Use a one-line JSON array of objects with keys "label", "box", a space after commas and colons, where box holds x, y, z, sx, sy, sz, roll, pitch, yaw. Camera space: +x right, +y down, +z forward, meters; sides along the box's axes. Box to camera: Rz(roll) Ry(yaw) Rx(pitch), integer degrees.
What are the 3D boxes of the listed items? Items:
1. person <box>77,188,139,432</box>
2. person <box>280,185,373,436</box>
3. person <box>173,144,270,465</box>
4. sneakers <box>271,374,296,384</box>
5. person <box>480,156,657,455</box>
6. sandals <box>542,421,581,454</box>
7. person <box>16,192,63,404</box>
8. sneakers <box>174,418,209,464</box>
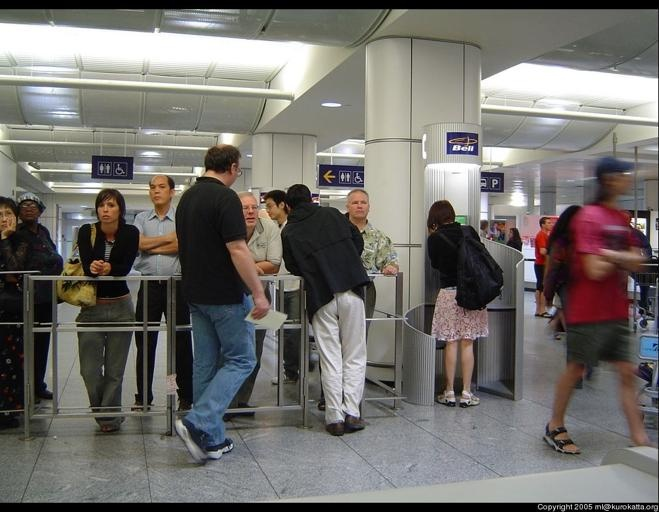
[{"label": "person", "box": [-1.888, 0.464, 4.262, 0.477, 2.087, 0.362, 0, 1, -30]}, {"label": "person", "box": [-0.033, 0.436, 4.419, 0.757, 2.180, 0.449, 1, 1, -4]}, {"label": "person", "box": [-0.805, 0.322, 3.741, 0.664, 2.383, 0.454, 0, 1, -17]}, {"label": "sneakers", "box": [-0.406, 1.093, 4.447, 0.227, 0.083, 0.087, 3, -2, -10]}, {"label": "person", "box": [1.949, 0.402, 3.573, 0.420, 2.274, 0.772, 0, 2, -40]}, {"label": "sandals", "box": [1.810, 1.442, 3.962, 0.130, 0.138, 0.323, -4, 2, -20]}, {"label": "person", "box": [-2.577, 0.308, 4.461, 0.365, 1.796, 0.968, 0, 1, -31]}, {"label": "sneakers", "box": [-0.980, 1.326, 3.573, 0.231, 0.320, 0.124, 0, 1, -20]}]
